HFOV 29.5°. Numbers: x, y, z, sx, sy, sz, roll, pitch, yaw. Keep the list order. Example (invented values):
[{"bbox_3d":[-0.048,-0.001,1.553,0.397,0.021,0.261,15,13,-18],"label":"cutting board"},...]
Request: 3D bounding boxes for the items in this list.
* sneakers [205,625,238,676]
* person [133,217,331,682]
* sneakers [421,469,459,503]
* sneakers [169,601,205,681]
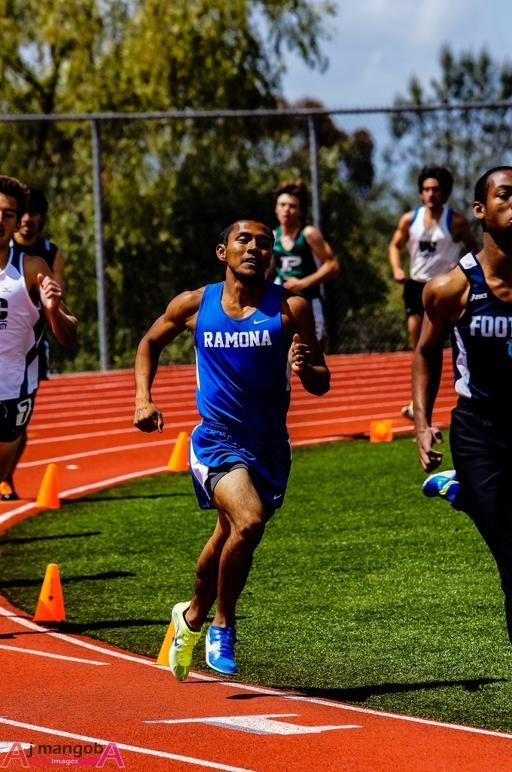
[{"bbox_3d":[-0.098,0.813,3.032,0.069,0.082,0.196,24,5,-29],"label":"sneakers"},{"bbox_3d":[-0.099,0.219,3.258,0.660,1.498,0.556,1,0,27],"label":"person"},{"bbox_3d":[0.576,0.302,2.974,0.056,0.068,0.150,34,-13,-8],"label":"sneakers"},{"bbox_3d":[-0.242,0.850,3.241,0.115,0.259,0.090,-16,-19,42],"label":"sneakers"}]
